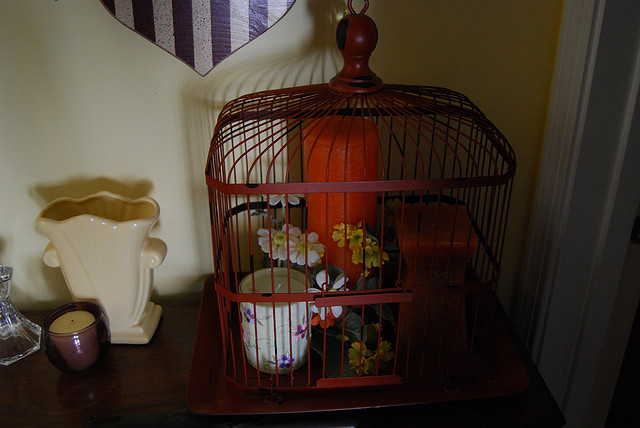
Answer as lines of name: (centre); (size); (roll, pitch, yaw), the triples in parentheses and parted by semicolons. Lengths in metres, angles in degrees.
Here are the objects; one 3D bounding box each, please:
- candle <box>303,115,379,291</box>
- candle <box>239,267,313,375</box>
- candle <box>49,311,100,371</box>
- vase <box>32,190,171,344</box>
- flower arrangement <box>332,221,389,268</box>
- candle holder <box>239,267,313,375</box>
candle: (0.040, -0.017, 0.873); (0.134, 0.284, 0.174); (-1, 20, -2)
candle: (-0.075, 0.192, 0.905); (0.119, 0.138, 0.124); (4, 6, -26)
candle: (-0.461, 0.237, 0.944); (0.077, 0.087, 0.074); (-13, 23, -30)
vase: (-0.426, 0.099, 0.981); (0.230, 0.273, 0.160); (4, 32, 1)
flower arrangement: (0.070, 0.052, 0.873); (0.061, 0.084, 0.076); (-25, 40, -28)
candle holder: (-0.079, 0.189, 0.911); (0.132, 0.152, 0.134); (18, 24, 42)
